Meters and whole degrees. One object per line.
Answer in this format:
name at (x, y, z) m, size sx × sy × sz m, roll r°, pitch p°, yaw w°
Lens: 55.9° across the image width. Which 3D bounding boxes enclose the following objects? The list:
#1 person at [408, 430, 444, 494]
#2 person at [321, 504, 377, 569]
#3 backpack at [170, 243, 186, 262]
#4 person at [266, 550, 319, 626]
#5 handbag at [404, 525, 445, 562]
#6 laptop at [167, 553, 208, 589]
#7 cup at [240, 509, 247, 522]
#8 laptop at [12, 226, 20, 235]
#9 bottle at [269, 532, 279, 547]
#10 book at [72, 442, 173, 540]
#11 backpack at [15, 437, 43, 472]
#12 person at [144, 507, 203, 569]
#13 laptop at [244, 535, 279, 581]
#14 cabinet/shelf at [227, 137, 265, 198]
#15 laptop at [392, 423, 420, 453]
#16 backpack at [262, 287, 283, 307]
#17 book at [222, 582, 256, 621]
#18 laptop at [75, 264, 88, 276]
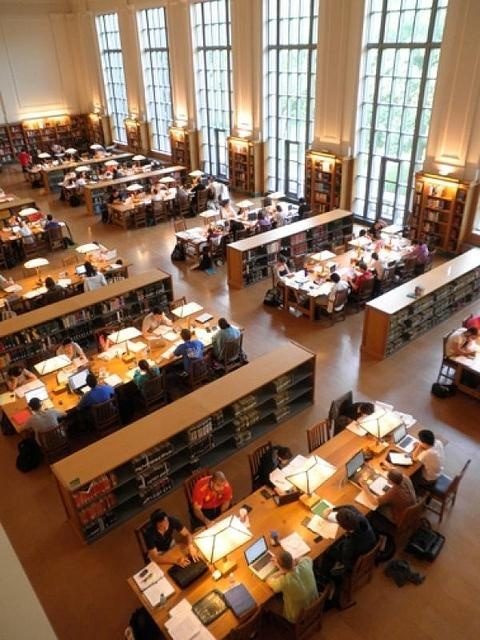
person at (2.195, 1.622, 5.315) m, size 0.337 × 0.763 × 0.422 m, roll 6°, pitch 27°, yaw 22°
person at (1.036, 2.116, 4.405) m, size 0.353 × 0.707 × 0.421 m, roll -46°, pitch 41°, yaw -14°
backpack at (-1.722, -1.882, 12.743) m, size 0.307 × 0.509 × 0.243 m, roll 39°, pitch 68°, yaw 19°
person at (0.444, 2.331, 3.928) m, size 0.395 × 0.760 × 0.441 m, roll -37°, pitch 60°, yaw -4°
handbag at (2.035, 2.456, 4.980) m, size 0.299 × 0.155 × 0.387 m, roll 18°, pitch 33°, yaw 39°
laptop at (-0.477, 2.289, 4.162) m, size 0.314 × 0.083 × 0.261 m, roll -22°, pitch 30°, yaw -34°
cup at (0.034, 1.995, 4.627) m, size 0.085 × 0.081 × 0.078 m, roll -3°, pitch 33°, yaw 2°
laptop at (-6.532, -2.603, 13.228) m, size 0.273 × 0.066 × 0.251 m, roll -5°, pitch 65°, yaw 8°
bottle at (0.330, 2.128, 4.400) m, size 0.071 × 0.104 × 0.075 m, roll -4°, pitch 37°, yaw 3°
book at (-1.395, 1.986, 5.266) m, size 0.935 × 0.761 × 0.292 m, roll -27°, pitch 40°, yaw -33°
backpack at (-2.953, 1.902, 6.379) m, size 0.261 × 0.453 × 0.314 m, roll 28°, pitch 45°, yaw 25°
person at (-0.662, 2.200, 4.534) m, size 0.473 × 0.736 × 0.338 m, roll 41°, pitch 78°, yaw 16°
laptop at (0.195, 2.215, 4.206) m, size 0.268 × 0.163 × 0.242 m, roll -24°, pitch 52°, yaw -30°
cabinet/shelf at (0.266, -5.679, 16.734) m, size 0.565 × 1.921 × 1.691 m, roll -33°, pitch 47°, yaw -33°
laptop at (2.031, 1.464, 5.583) m, size 0.293 × 0.249 × 0.210 m, roll -37°, pitch 51°, yaw -23°
backpack at (0.704, -0.539, 10.384) m, size 0.459 × 0.473 × 0.335 m, roll -4°, pitch 16°, yaw -25°
book at (-0.003, 2.380, 3.858) m, size 0.221 × 0.068 × 0.272 m, roll -18°, pitch 28°, yaw -27°
laptop at (-3.539, -1.116, 10.090) m, size 0.292 × 0.227 × 0.210 m, roll 3°, pitch 10°, yaw -18°
